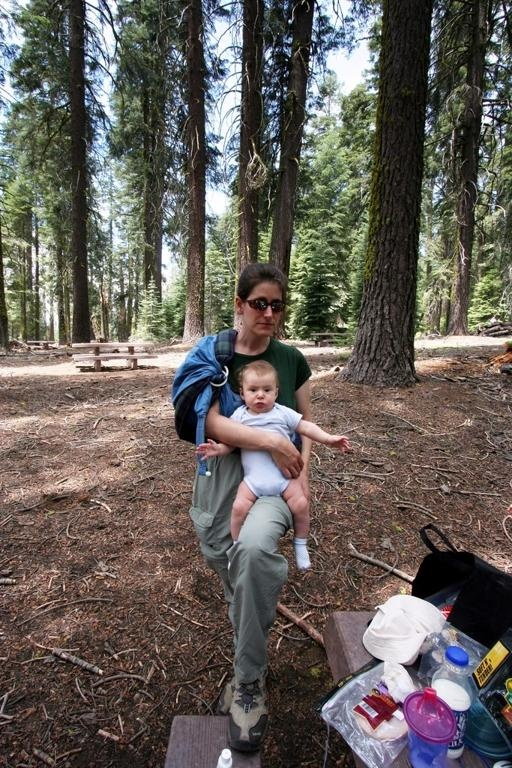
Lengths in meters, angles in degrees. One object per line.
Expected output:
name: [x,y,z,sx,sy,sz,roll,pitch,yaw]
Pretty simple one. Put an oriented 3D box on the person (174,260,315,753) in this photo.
person: [-0.091,0.445,2.375,0.685,2.055,1.132,0,8,6]
